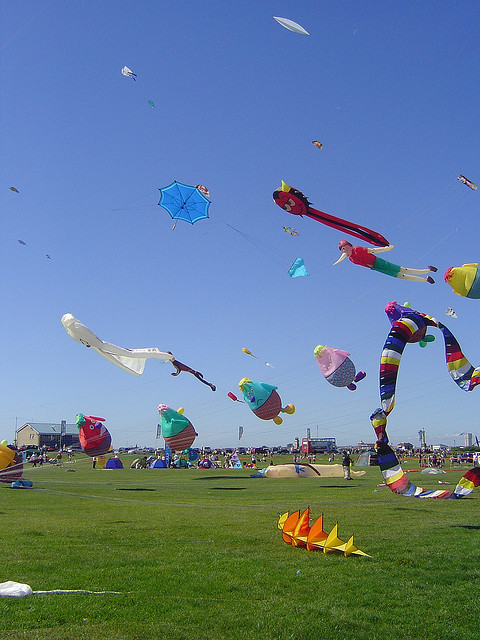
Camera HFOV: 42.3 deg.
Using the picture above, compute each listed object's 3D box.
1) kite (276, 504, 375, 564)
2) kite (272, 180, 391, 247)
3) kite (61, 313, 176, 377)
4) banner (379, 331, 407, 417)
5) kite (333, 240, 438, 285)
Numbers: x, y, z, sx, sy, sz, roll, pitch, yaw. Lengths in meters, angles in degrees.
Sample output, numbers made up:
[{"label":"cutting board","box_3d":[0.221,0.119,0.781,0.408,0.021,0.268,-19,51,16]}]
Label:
[{"label":"kite","box_3d":[1.743,4.406,12.842,0.917,0.774,2.468,9,-14,-33]},{"label":"kite","box_3d":[2.595,-3.120,18.638,3.128,1.544,0.768,2,-13,-9]},{"label":"kite","box_3d":[-4.142,1.127,23.752,4.884,1.296,3.936,20,6,-27]},{"label":"banner","box_3d":[5.062,1.744,20.654,0.597,2.939,1.054,-11,-18,39]},{"label":"kite","box_3d":[4.591,-1.623,19.375,3.375,0.676,1.705,21,-22,6]}]
